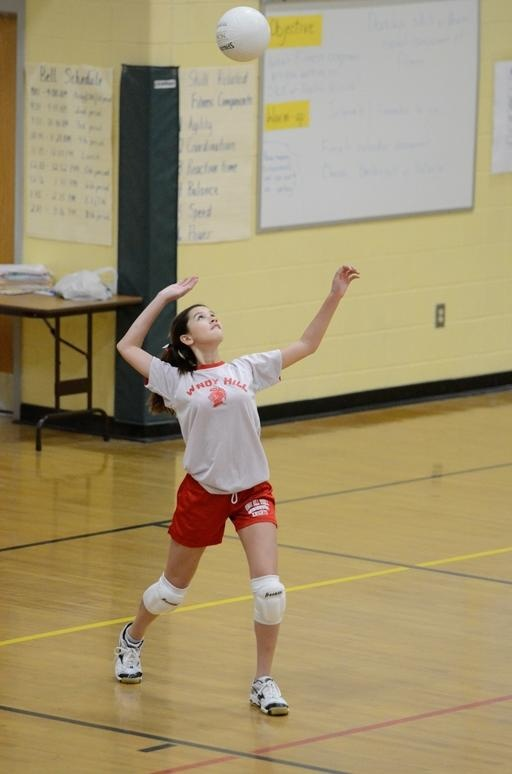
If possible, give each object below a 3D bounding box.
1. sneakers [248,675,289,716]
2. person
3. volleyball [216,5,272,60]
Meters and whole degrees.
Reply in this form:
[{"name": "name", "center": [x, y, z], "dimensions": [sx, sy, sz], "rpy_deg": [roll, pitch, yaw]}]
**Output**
[{"name": "sneakers", "center": [0.027, 0.868, 2.358], "dimensions": [0.066, 0.064, 0.154], "rpy_deg": [2, -2, -26]}, {"name": "person", "center": [-0.140, 0.276, 2.500], "dimensions": [0.836, 1.243, 0.457], "rpy_deg": [-1, 0, 33]}, {"name": "volleyball", "center": [-0.087, -2.205, 5.174], "dimensions": [0.323, 0.342, 0.251], "rpy_deg": [2, 6, 6]}]
